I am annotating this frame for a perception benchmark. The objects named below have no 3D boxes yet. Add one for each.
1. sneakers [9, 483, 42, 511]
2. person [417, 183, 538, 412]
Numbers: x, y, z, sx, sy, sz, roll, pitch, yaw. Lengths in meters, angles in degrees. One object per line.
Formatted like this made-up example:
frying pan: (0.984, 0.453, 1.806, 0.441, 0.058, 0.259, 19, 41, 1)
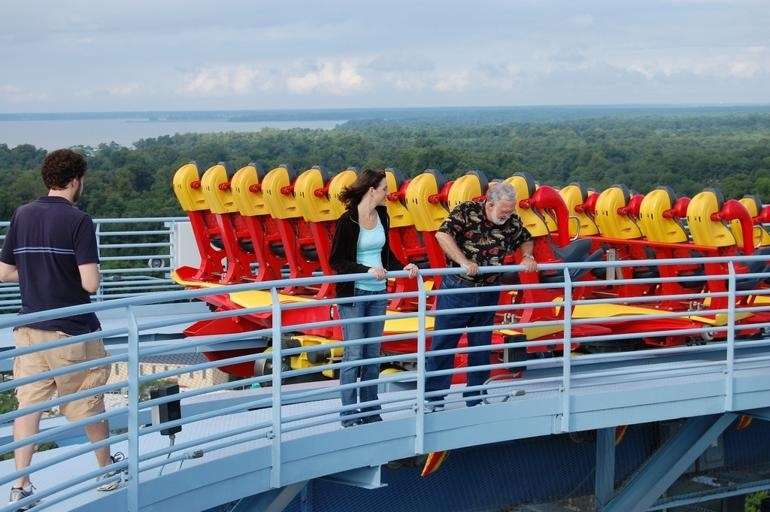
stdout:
sneakers: (-2.996, 1.997, 8.367, 0.179, 0.179, 0.462, -2, -4, 17)
person: (0.877, 0.406, 9.710, 1.210, 2.189, 0.774, -7, 10, 0)
